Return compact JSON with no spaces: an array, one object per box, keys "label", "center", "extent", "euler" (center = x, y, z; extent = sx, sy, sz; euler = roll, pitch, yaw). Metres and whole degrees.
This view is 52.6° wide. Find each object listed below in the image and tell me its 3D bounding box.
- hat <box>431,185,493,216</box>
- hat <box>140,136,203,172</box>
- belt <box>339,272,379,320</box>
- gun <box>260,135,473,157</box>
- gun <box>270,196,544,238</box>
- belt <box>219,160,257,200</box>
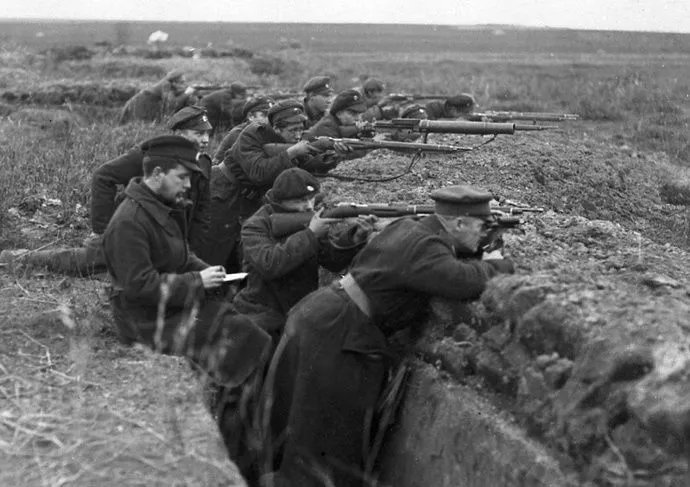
[{"label":"hat","center":[0.978,-0.370,5.807],"extent":[0.522,0.278,0.470],"euler":[2,9,14]},{"label":"hat","center":[-1.672,-0.858,6.535],"extent":[0.587,0.266,0.536],"euler":[8,-8,10]},{"label":"belt","center":[0.102,0.423,5.904],"extent":[0.087,0.225,0.371],"euler":[0,48,-51]},{"label":"gun","center":[0.415,-1.229,8.895],"extent":[1.923,0.302,0.405],"euler":[-3,26,-8]},{"label":"gun","center":[0.525,-0.264,6.493],"extent":[2.356,0.392,0.119],"euler":[-3,47,-15]},{"label":"belt","center":[-1.394,-0.795,8.948],"extent":[0.140,0.521,0.386],"euler":[-49,23,-10]}]
